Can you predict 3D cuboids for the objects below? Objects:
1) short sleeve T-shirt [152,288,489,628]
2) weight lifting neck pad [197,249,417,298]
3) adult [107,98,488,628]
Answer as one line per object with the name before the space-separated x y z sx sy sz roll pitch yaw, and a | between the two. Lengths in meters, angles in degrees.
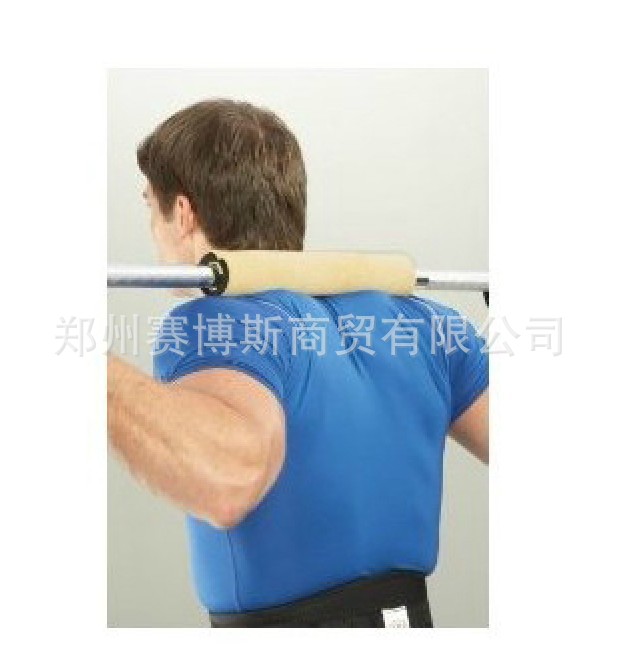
short sleeve T-shirt | -0.008 -0.024 2.362 0.833 1.194 0.545 0 -5 -16
weight lifting neck pad | 0.001 -0.126 2.137 0.479 0.116 0.027 -4 3 -5
adult | -0.062 0.083 2.137 0.743 1.644 0.433 -3 5 -36
